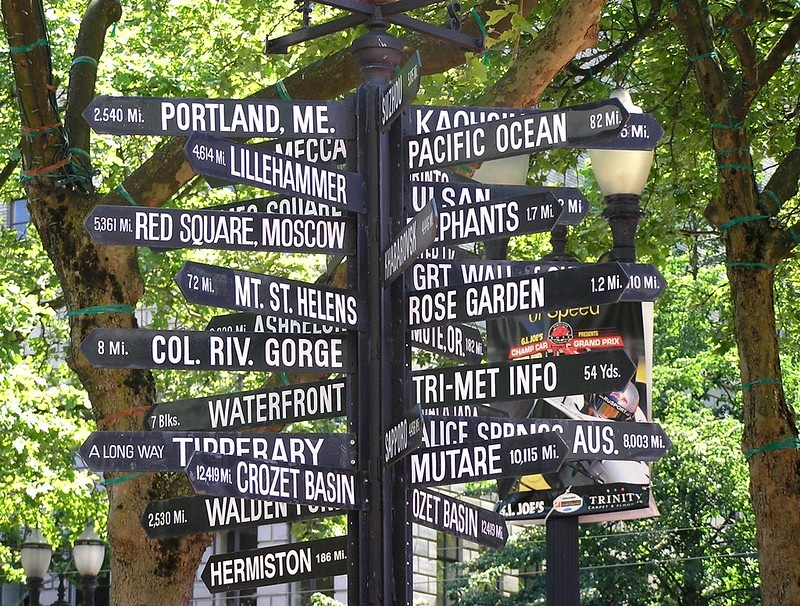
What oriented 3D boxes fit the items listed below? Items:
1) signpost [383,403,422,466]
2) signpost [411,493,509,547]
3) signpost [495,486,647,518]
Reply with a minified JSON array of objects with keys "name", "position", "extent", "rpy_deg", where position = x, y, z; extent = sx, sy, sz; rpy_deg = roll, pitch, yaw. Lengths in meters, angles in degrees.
[{"name":"signpost","position":[-0.060,1.192,17.836],"extent":[0.023,0.438,0.718],"rpy_deg":[19,31,32]},{"name":"signpost","position":[0.531,1.943,18.370],"extent":[1.118,0.395,0.008],"rpy_deg":[13,21,35]},{"name":"signpost","position":[1.806,2.008,20.650],"extent":[1.486,0.317,0.258],"rpy_deg":[-4,-7,5]}]
